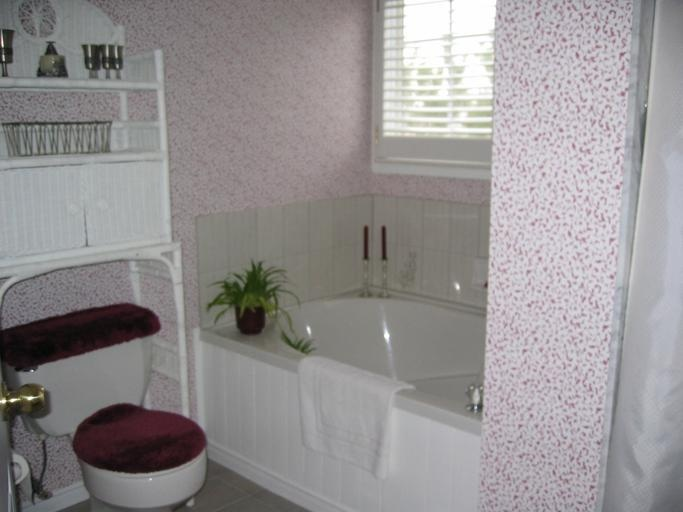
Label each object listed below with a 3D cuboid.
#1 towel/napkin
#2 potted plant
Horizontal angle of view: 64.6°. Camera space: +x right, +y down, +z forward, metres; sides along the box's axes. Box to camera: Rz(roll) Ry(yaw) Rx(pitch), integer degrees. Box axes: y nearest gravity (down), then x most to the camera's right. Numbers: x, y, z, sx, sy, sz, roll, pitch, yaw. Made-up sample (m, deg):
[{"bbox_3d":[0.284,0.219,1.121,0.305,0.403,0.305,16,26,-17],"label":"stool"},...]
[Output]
[{"bbox_3d":[0.045,0.638,2.226,0.490,0.387,0.207,9,19,38],"label":"towel/napkin"},{"bbox_3d":[-0.473,0.212,2.809,0.378,0.323,0.390,2,3,-14],"label":"potted plant"}]
